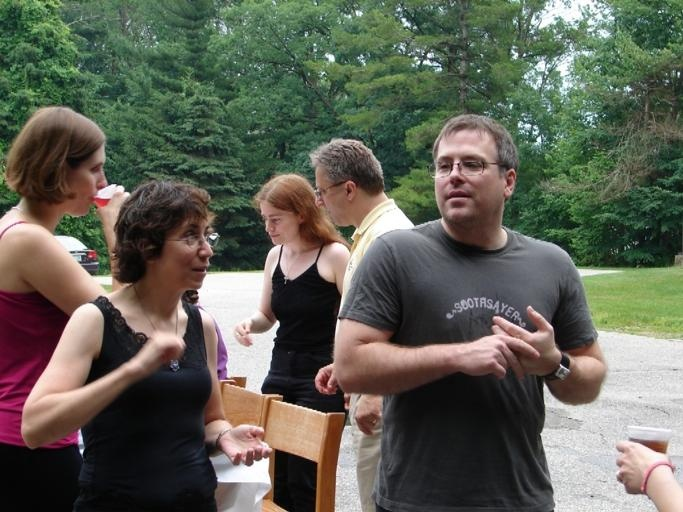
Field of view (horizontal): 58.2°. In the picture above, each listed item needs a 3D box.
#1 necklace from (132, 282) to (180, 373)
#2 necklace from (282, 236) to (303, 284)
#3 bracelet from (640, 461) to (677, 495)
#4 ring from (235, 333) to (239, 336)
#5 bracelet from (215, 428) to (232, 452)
[{"bbox_3d":[-0.759,0.297,2.619,0.213,0.407,0.105,-2,10,12],"label":"necklace"},{"bbox_3d":[-0.341,0.034,4.335,0.080,0.332,0.342,1,-6,15],"label":"necklace"},{"bbox_3d":[1.268,0.876,2.437,0.176,0.142,0.070,-3,5,-23],"label":"bracelet"},{"bbox_3d":[-0.782,0.593,4.606,0.028,0.027,0.008,1,11,30],"label":"ring"},{"bbox_3d":[-0.533,0.809,2.734,0.030,0.077,0.078,13,40,-7],"label":"bracelet"}]
